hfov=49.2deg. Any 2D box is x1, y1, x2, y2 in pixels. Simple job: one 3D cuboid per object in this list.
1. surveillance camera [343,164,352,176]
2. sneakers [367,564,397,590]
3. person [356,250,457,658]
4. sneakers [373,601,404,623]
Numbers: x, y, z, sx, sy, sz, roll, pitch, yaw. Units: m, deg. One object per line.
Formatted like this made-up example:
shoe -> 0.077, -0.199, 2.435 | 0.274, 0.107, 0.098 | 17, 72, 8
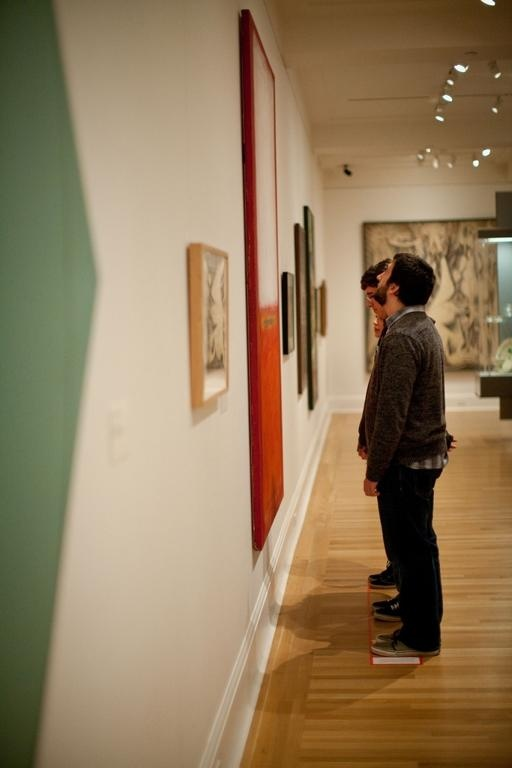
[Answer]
surveillance camera -> 1.723, -4.018, 10.494 | 0.110, 0.169, 0.248 | 9, 8, 14
sneakers -> 0.904, 1.393, 4.047 | 0.244, 0.144, 0.297 | 2, -4, 3
person -> 0.812, 0.408, 3.097 | 0.500, 2.227, 0.693 | -1, 4, 21
sneakers -> 0.839, 1.435, 3.528 | 0.169, 0.090, 0.153 | 11, -9, 3
